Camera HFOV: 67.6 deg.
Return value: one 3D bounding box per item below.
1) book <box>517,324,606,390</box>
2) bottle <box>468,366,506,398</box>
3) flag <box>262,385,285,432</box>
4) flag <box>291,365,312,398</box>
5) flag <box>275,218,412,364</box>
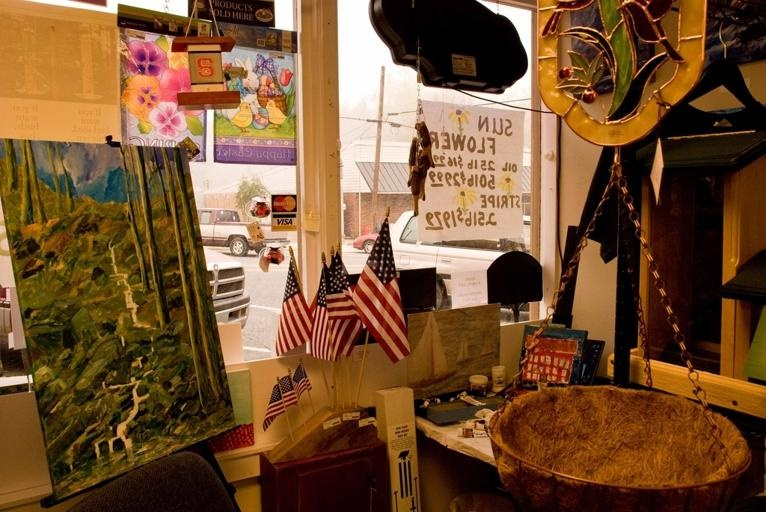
[{"bbox_3d":[0.967,0.557,3.154,0.436,0.322,0.313,3,6,26],"label":"book"},{"bbox_3d":[0.593,0.714,3.244,0.163,0.115,0.170,-2,-6,0],"label":"bottle"},{"bbox_3d":[-0.532,0.731,2.742,0.100,0.277,0.187,-1,6,-13],"label":"flag"},{"bbox_3d":[-0.401,0.595,2.772,0.090,0.024,0.221,-2,39,-15],"label":"flag"},{"bbox_3d":[-0.197,0.166,2.761,0.631,0.685,0.173,-1,6,-12],"label":"flag"}]
